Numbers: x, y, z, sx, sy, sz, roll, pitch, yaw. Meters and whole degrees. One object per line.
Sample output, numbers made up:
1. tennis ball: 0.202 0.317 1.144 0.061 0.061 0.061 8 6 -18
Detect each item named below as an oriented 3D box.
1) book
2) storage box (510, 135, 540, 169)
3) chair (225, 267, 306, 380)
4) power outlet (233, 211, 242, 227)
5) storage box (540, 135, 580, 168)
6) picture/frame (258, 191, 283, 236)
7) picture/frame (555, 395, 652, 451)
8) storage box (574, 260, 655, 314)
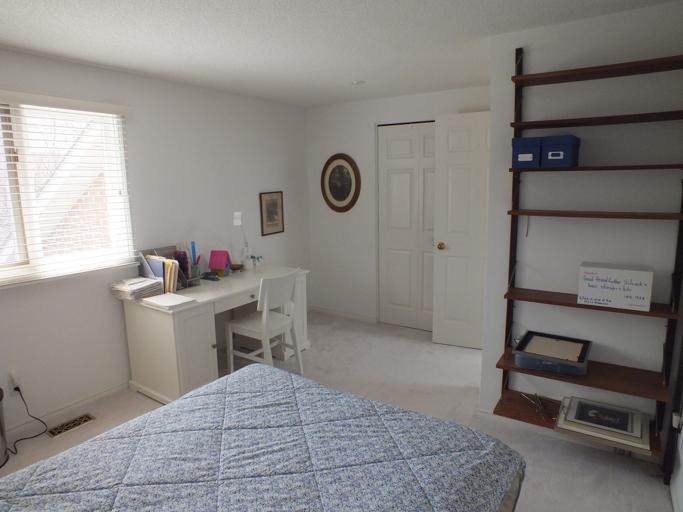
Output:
1. book: -1.480 0.237 3.765 0.542 0.281 0.413 7 25 28
2. storage box: 1.185 -0.664 3.071 0.183 0.188 0.190 4 9 25
3. chair: -0.631 0.570 4.045 0.597 1.122 0.624 11 15 23
4. power outlet: -1.052 -0.377 4.776 0.021 0.163 0.138 4 7 28
5. storage box: 1.383 -0.619 3.030 0.214 0.220 0.212 2 3 32
6. picture/frame: -0.780 -0.466 5.131 0.039 0.541 0.407 2 10 25
7. picture/frame: 1.648 1.052 3.025 0.519 0.115 0.365 6 13 28
8. storage box: 1.675 0.196 2.929 0.461 0.329 0.254 6 16 27
